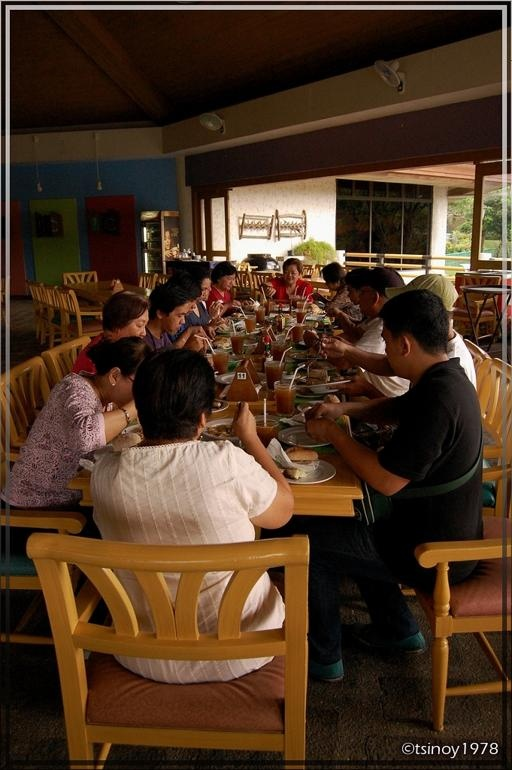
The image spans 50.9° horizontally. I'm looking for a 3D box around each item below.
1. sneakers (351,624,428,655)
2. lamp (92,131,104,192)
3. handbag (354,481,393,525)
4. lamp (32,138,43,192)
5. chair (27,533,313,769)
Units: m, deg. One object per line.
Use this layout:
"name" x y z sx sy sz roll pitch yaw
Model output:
"sneakers" 0.421 0.796 1.708 0.206 0.083 0.096 8 13 26
"lamp" -3.157 -4.414 10.693 0.128 1.068 0.295 -3 10 -16
"handbag" 0.310 0.312 1.420 0.071 0.136 0.095 -9 51 -3
"lamp" -4.403 -4.419 10.797 0.155 1.037 0.262 -4 10 -20
"chair" -0.129 0.443 0.929 0.413 0.492 0.322 -1 9 -3
